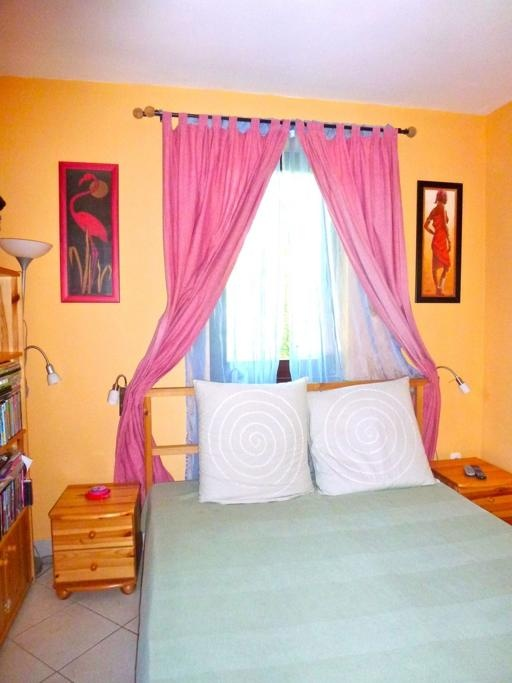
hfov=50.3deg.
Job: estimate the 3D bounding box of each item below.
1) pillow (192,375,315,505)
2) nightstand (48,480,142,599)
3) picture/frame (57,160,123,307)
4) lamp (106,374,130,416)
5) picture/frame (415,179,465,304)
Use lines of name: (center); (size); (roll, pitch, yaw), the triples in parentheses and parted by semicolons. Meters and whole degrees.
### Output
pillow: (-0.002, 0.420, 2.514); (0.502, 0.724, 0.239); (-3, 25, -2)
nightstand: (-0.739, 0.883, 2.574); (0.309, 0.498, 0.421); (-1, 3, -8)
picture/frame: (-0.834, -0.548, 2.759); (0.282, 0.860, 0.026); (2, -26, -23)
lamp: (-0.695, 0.266, 2.740); (0.065, 0.190, 0.157); (5, 5, -11)
picture/frame: (1.057, -0.577, 3.144); (0.251, 0.757, 0.014); (8, 38, 28)
